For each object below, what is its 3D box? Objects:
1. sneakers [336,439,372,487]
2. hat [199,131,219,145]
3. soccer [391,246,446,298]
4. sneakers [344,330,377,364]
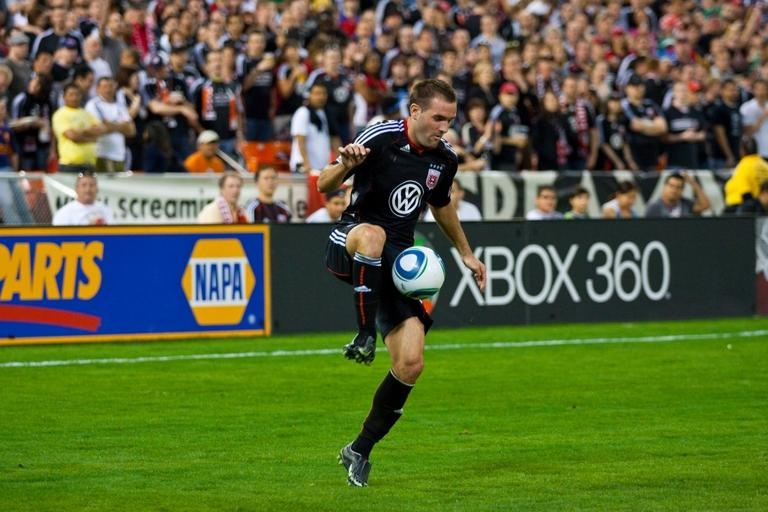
[{"bbox_3d":[-0.310,2.229,15.012,0.251,0.546,0.205,-32,-15,15],"label":"sneakers"},{"bbox_3d":[-2.478,-1.717,20.062,0.200,0.155,0.236,-1,5,-4],"label":"hat"},{"bbox_3d":[0.362,0.186,15.294,0.624,0.517,0.529,4,16,-42],"label":"soccer"},{"bbox_3d":[-0.213,0.972,14.739,0.193,0.270,0.368,-29,29,25],"label":"sneakers"}]
